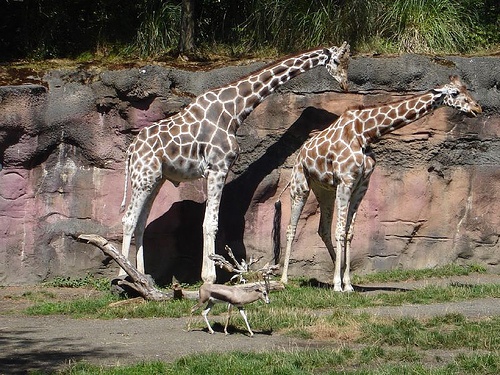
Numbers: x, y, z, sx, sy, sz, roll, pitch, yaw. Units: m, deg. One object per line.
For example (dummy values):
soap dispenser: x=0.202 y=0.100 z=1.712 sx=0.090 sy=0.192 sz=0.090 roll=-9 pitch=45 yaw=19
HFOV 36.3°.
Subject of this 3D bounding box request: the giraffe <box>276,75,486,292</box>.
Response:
giraffe: x=2.476 y=-0.028 z=17.049 sx=3.611 sy=4.517 sz=1.272 roll=1 pitch=2 yaw=16
